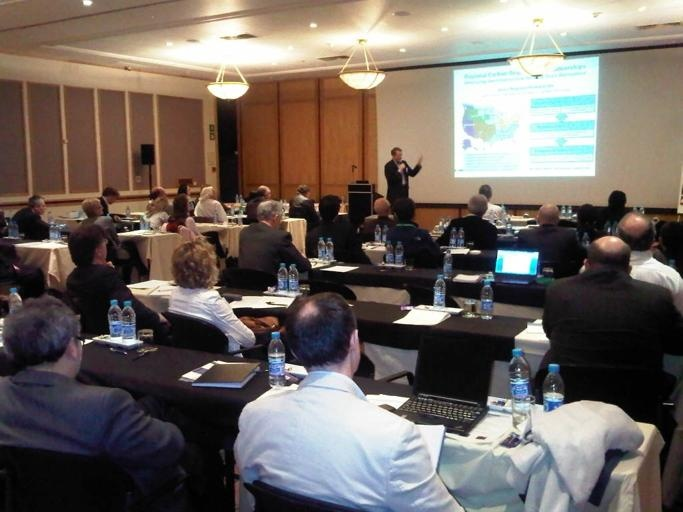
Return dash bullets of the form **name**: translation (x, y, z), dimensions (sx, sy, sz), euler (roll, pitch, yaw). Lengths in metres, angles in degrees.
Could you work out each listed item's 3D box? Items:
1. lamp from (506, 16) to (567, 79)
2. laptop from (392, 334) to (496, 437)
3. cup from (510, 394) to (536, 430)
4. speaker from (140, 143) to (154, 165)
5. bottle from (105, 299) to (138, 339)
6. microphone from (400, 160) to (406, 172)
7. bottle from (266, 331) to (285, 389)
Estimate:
- **lamp**: translation (3.409, -3.653, 9.515), dimensions (0.976, 1.176, 1.008), euler (-2, 5, -2)
- **laptop**: translation (0.453, 0.546, 2.421), dimensions (0.359, 0.276, 0.416), euler (3, 9, 25)
- **cup**: translation (0.778, 0.657, 2.312), dimensions (0.104, 0.121, 0.105), euler (0, -1, 0)
- **speaker**: translation (-4.650, -2.445, 13.162), dimensions (0.330, 0.491, 0.610), euler (-4, 9, -20)
- **bottle**: translation (-1.398, 0.396, 3.506), dimensions (0.252, 0.343, 0.128), euler (0, 1, 39)
- **microphone**: translation (1.214, -1.840, 11.156), dimensions (0.142, 0.198, 0.061), euler (0, -1, -27)
- **bottle**: translation (-0.329, 0.493, 2.763), dimensions (0.090, 0.260, 0.269), euler (-2, 8, -7)
